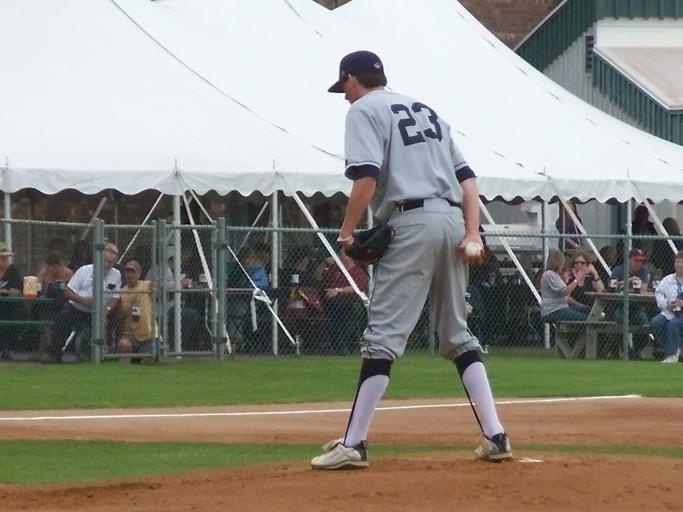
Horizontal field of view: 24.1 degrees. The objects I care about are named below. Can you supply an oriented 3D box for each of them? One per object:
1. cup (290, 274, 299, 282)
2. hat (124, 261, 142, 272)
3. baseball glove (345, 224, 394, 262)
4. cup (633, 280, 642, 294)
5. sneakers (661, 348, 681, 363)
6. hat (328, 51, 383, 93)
[{"bbox_3d":[-0.714,0.343,24.955,0.113,0.118,0.101,5,3,43],"label":"cup"},{"bbox_3d":[-3.113,0.146,24.136,0.226,0.190,0.393,-2,12,-7],"label":"hat"},{"bbox_3d":[0.330,-0.133,18.161,0.464,0.278,0.351,-22,16,12],"label":"baseball glove"},{"bbox_3d":[4.633,0.464,25.195,0.159,0.260,0.167,0,2,0],"label":"cup"},{"bbox_3d":[5.057,1.537,24.540,0.209,0.230,0.078,9,-14,37],"label":"sneakers"},{"bbox_3d":[0.163,-2.124,18.554,0.596,0.359,0.406,-3,8,12],"label":"hat"}]
